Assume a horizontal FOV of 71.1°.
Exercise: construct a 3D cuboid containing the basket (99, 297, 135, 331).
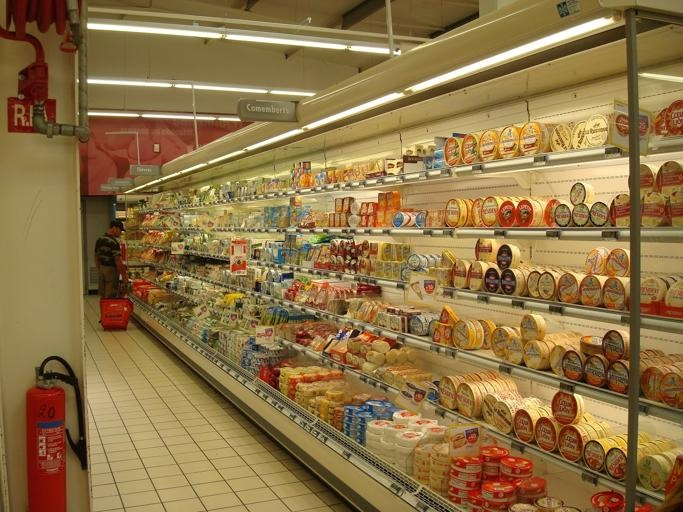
[{"bbox_3d":[-5.247,1.279,11.328,0.910,0.793,0.715,0,0,-16],"label":"basket"}]
